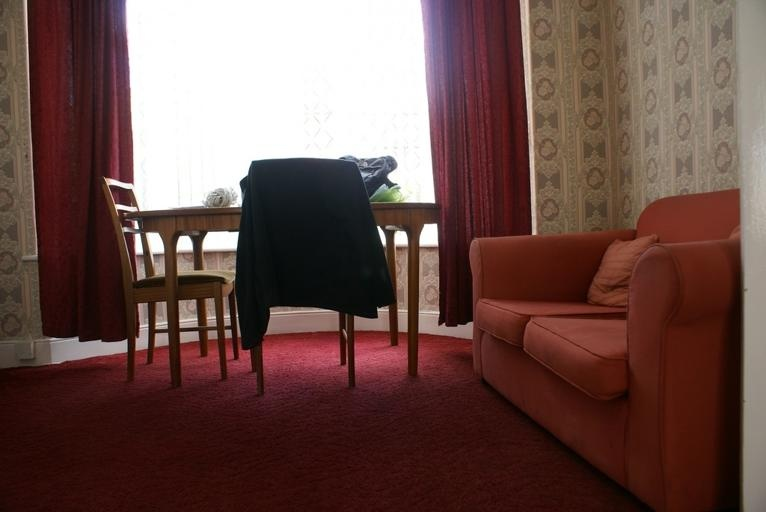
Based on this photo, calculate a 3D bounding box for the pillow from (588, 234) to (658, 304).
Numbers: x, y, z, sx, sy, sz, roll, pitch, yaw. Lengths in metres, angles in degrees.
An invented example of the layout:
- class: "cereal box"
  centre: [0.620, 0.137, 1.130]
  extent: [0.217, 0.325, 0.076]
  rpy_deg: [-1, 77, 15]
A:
- class: "pillow"
  centre: [1.521, 0.091, 3.258]
  extent: [0.520, 0.136, 0.498]
  rpy_deg: [-28, 5, -23]

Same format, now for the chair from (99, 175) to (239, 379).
- class: "chair"
  centre: [-1.438, 0.152, 3.860]
  extent: [0.831, 1.295, 0.792]
  rpy_deg: [-1, 2, 5]
